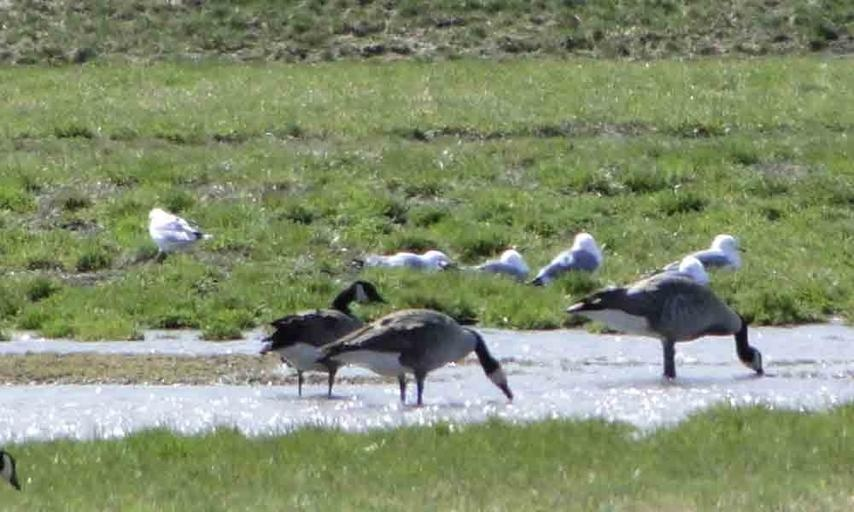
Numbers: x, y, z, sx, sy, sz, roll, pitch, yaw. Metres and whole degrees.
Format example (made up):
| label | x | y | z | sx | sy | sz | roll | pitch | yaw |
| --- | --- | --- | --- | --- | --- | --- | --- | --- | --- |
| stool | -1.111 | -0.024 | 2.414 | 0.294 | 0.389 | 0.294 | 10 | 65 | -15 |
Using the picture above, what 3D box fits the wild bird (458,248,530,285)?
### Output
| label | x | y | z | sx | sy | sz | roll | pitch | yaw |
| --- | --- | --- | --- | --- | --- | --- | --- | --- | --- |
| wild bird | 2.390 | 0.338 | 67.323 | 2.372 | 1.060 | 0.969 | 2 | 2 | -20 |
